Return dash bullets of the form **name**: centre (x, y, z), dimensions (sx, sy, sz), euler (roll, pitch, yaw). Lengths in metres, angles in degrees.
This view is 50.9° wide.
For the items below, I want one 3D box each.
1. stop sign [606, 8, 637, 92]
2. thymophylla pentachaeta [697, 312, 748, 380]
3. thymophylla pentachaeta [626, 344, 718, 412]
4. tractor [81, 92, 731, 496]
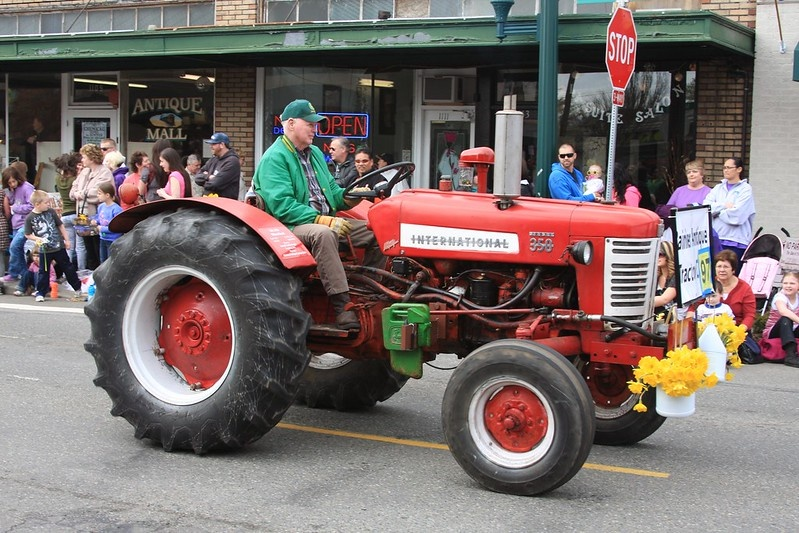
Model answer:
- **stop sign**: centre (2.626, -2.607, 10.095), dimensions (0.271, 0.982, 0.800), euler (5, 10, 20)
- **thymophylla pentachaeta**: centre (2.768, 0.741, 7.309), dimensions (0.487, 0.623, 0.411), euler (2, 4, 11)
- **thymophylla pentachaeta**: centre (2.189, 0.943, 6.790), dimensions (0.649, 0.657, 0.507), euler (4, 10, 17)
- **tractor**: centre (-0.057, 0.074, 7.301), dimensions (4.916, 3.092, 1.633), euler (3, 10, 13)
